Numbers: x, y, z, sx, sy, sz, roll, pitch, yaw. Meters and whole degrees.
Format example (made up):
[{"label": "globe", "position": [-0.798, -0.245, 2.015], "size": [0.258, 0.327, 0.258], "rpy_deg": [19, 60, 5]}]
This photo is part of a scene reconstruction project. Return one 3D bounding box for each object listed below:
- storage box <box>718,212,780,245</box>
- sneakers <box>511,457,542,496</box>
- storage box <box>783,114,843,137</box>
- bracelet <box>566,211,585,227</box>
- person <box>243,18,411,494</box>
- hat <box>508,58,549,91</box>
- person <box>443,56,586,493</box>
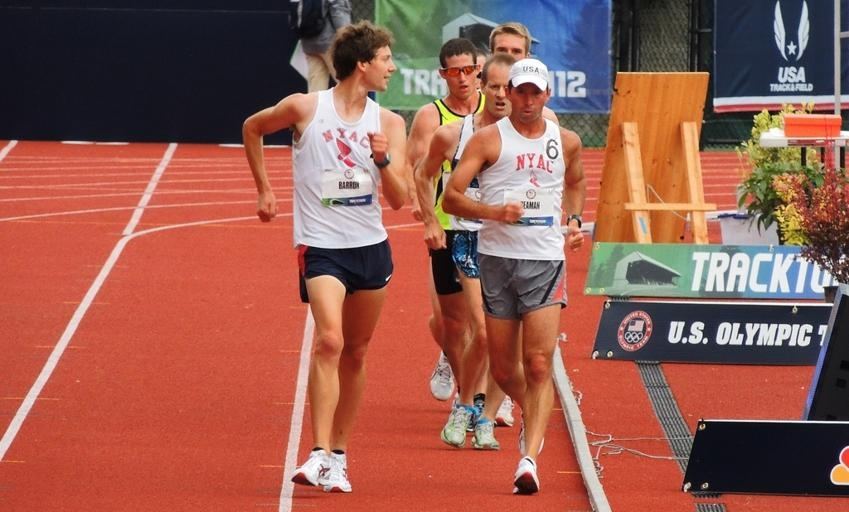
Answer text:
[{"label": "storage box", "position": [3.714, -0.297, 12.366], "size": [0.518, 0.338, 0.420], "rpy_deg": [2, 2, 11]}, {"label": "sneakers", "position": [0.747, 1.620, 7.918], "size": [0.156, 0.157, 0.343], "rpy_deg": [0, -27, 5]}, {"label": "storage box", "position": [3.899, -1.311, 10.953], "size": [0.629, 0.251, 0.359], "rpy_deg": [11, 16, 36]}, {"label": "bracelet", "position": [1.174, -0.302, 8.458], "size": [0.157, 0.102, 0.164], "rpy_deg": [2, -10, 6]}, {"label": "person", "position": [-0.709, 0.019, 8.012], "size": [1.102, 3.422, 1.038], "rpy_deg": [1, 13, -3]}, {"label": "hat", "position": [0.780, -1.351, 8.065], "size": [0.303, 0.220, 0.297], "rpy_deg": [2, 13, 3]}, {"label": "person", "position": [0.693, 0.137, 8.174], "size": [0.920, 3.177, 1.271], "rpy_deg": [3, 13, 10]}]
